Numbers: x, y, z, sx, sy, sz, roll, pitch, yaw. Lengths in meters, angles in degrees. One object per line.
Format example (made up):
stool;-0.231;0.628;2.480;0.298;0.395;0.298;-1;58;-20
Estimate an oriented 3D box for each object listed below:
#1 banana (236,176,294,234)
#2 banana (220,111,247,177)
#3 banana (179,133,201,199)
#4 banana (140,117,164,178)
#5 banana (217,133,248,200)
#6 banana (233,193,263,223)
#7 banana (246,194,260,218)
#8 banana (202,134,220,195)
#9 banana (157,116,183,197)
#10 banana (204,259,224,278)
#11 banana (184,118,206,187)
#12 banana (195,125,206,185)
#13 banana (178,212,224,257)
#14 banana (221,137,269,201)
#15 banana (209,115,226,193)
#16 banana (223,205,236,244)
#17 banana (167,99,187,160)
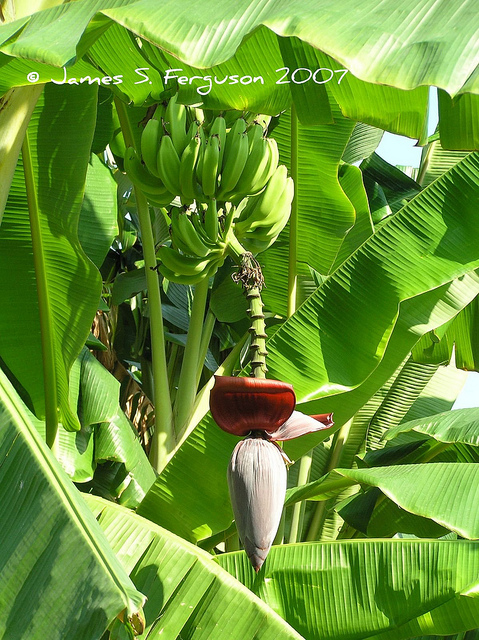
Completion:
banana;0.055;-0.278;1.567;0.191;0.069;0.043;-41;2;-41
banana;-0.004;-0.435;1.595;0.035;0.034;0.207;-23;36;33
banana;-0.112;-0.359;1.529;0.040;0.150;0.052;10;19;24
banana;-0.216;-0.428;1.603;0.042;0.164;0.057;-5;1;18
banana;0.004;-0.370;1.553;0.044;0.062;0.178;21;55;-2
banana;0.020;-0.268;1.621;0.022;0.034;0.128;-22;28;39
banana;0.040;-0.279;1.584;0.020;0.018;0.076;24;53;5
banana;-0.066;-0.349;1.477;0.031;0.134;0.036;2;-3;16
banana;-0.170;-0.360;1.582;0.053;0.153;0.098;-5;29;-4
banana;-0.064;-0.111;1.591;0.018;0.079;0.014;32;33;-5
banana;-0.094;-0.408;1.571;0.048;0.070;0.190;-5;46;1
banana;-0.090;-0.390;1.537;0.028;0.137;0.035;-2;0;5
banana;-0.084;-0.191;1.456;0.024;0.114;0.042;-23;24;47
banana;0.032;-0.357;1.540;0.058;0.077;0.216;12;60;28
banana;-0.047;-0.415;1.596;0.036;0.036;0.206;-1;57;8
banana;-0.023;-0.209;1.404;0.014;0.106;0.018;13;11;-3
banana;-0.159;-0.486;1.670;0.045;0.158;0.053;-8;-18;17
